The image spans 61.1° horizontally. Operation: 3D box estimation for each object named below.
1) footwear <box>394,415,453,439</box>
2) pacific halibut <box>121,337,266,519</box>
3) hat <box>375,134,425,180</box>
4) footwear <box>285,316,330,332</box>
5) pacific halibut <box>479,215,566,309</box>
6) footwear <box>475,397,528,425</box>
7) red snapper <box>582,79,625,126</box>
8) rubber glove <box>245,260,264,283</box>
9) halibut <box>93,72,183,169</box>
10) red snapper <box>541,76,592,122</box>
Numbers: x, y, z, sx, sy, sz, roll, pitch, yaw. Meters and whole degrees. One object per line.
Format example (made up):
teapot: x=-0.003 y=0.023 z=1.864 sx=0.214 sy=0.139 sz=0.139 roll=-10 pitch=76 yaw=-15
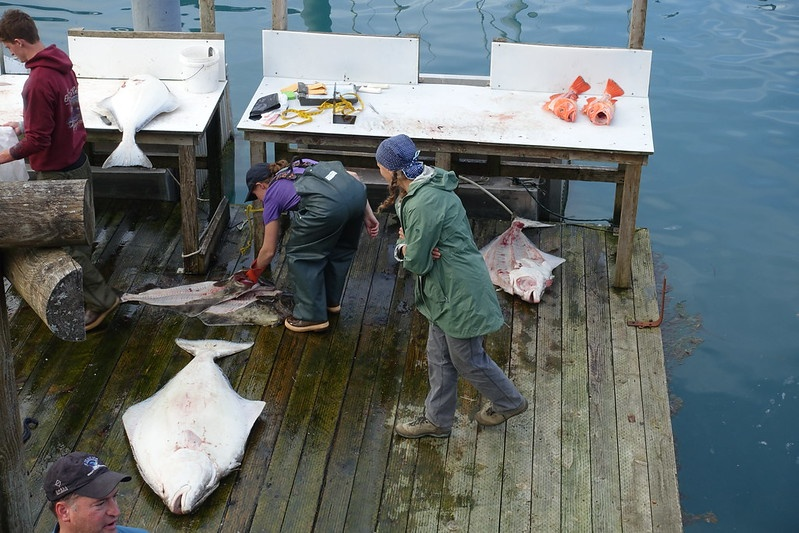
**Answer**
footwear: x=0.184 y=1.381 z=5.741 sx=0.502 sy=0.215 sz=0.181 roll=5 pitch=34 yaw=-5
pacific halibut: x=-1.705 y=1.303 z=5.632 sx=1.164 sy=0.515 sz=1.071 roll=26 pitch=38 yaw=35
hat: x=0.005 y=-0.849 z=5.355 sx=0.342 sy=0.347 sz=0.342 roll=12 pitch=29 yaw=1
footwear: x=-0.911 y=0.571 z=6.595 sx=0.390 sy=0.162 sz=0.157 roll=4 pitch=29 yaw=-5
pacific halibut: x=1.263 y=-0.057 z=7.112 sx=0.778 sy=0.131 sz=1.182 roll=-8 pitch=41 yaw=-5
footwear: x=0.830 y=1.280 z=5.804 sx=0.523 sy=0.242 sz=0.191 roll=-19 pitch=72 yaw=22
red snapper: x=2.157 y=-1.734 z=7.177 sx=0.384 sy=0.199 sz=0.593 roll=-13 pitch=42 yaw=16
rubber glove: x=-1.446 y=0.060 z=6.761 sx=0.258 sy=0.182 sz=0.097 roll=10 pitch=40 yaw=-34
halibut: x=-2.658 y=-1.524 z=6.790 sx=0.776 sy=0.229 sz=0.994 roll=0 pitch=51 yaw=5
red snapper: x=1.826 y=-1.800 z=7.305 sx=0.431 sy=0.345 sz=0.414 roll=8 pitch=60 yaw=-9
